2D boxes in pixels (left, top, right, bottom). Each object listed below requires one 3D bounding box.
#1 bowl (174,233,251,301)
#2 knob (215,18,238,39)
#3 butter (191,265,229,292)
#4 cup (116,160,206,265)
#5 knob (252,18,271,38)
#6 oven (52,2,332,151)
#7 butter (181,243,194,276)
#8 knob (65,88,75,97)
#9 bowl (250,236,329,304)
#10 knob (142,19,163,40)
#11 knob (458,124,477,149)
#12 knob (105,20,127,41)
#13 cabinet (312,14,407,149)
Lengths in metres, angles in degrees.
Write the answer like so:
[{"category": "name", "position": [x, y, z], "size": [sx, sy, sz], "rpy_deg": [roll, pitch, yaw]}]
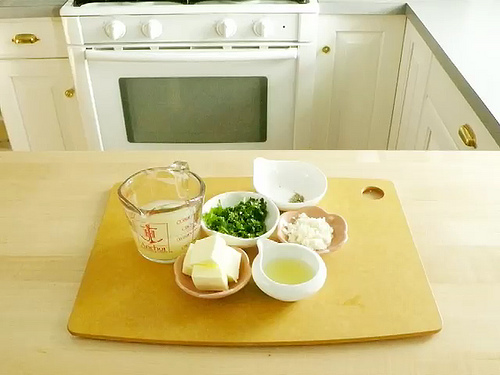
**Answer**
[{"category": "bowl", "position": [-0.076, 0.139, 0.732], "size": [0.132, 0.060, 0.134], "rpy_deg": [6, 22, -2]}, {"category": "knob", "position": [-0.094, -0.655, 1.624], "size": [0.090, 0.076, 0.042], "rpy_deg": [-1, 30, -6]}, {"category": "butter", "position": [-0.070, 0.161, 0.696], "size": [0.062, 0.056, 0.023], "rpy_deg": [2, 30, 1]}, {"category": "cup", "position": [-0.173, 0.036, 0.852], "size": [0.174, 0.162, 0.214], "rpy_deg": [13, 50, 10]}, {"category": "knob", "position": [0.049, -0.662, 1.631], "size": [0.079, 0.069, 0.033], "rpy_deg": [4, 30, 4]}, {"category": "oven", "position": [-0.241, -0.459, 2.079], "size": [1.222, 0.903, 0.751], "rpy_deg": [-1, 39, 3]}, {"category": "butter", "position": [-0.115, 0.136, 0.720], "size": [0.013, 0.045, 0.048], "rpy_deg": [6, 21, -12]}, {"category": "knob", "position": [-0.873, -0.456, 1.900], "size": [0.031, 0.036, 0.071], "rpy_deg": [3, 26, -2]}, {"category": "bowl", "position": [0.073, 0.152, 0.716], "size": [0.108, 0.052, 0.128], "rpy_deg": [-19, 44, -27]}, {"category": "knob", "position": [-0.402, -0.649, 1.612], "size": [0.083, 0.071, 0.039], "rpy_deg": [-3, 30, -8]}, {"category": "knob", "position": [0.686, -0.161, 1.233], "size": [0.031, 0.066, 0.099], "rpy_deg": [7, 30, 8]}, {"category": "knob", "position": [-0.553, -0.644, 1.609], "size": [0.072, 0.077, 0.022], "rpy_deg": [-2, 12, -9]}, {"category": "cabinet", "position": [0.545, -0.573, 2.111], "size": [0.324, 0.601, 0.357], "rpy_deg": [-1, 33, -1]}]
